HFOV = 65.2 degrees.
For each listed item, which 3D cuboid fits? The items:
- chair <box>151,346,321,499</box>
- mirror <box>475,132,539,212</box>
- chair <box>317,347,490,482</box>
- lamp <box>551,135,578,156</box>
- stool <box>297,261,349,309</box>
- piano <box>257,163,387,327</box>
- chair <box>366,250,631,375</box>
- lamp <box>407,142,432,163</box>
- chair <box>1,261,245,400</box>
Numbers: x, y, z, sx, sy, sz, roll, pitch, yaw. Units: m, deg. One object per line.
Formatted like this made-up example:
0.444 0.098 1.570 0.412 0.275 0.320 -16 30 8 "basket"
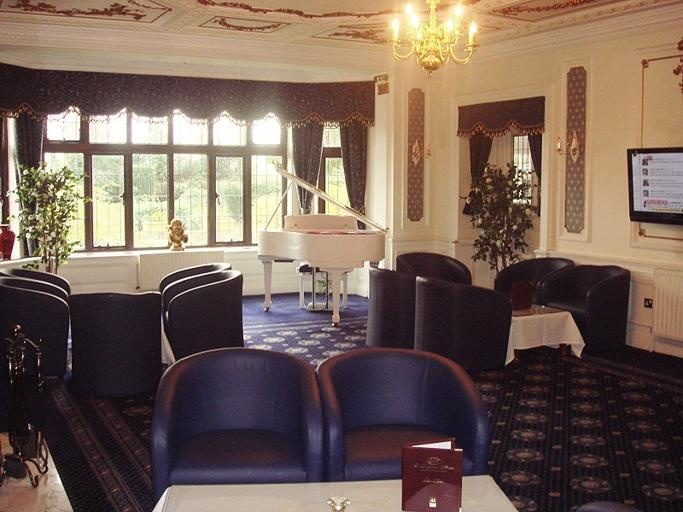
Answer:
-0.590 0.853 3.198 0.793 0.842 0.737 -1 -3 -6 "chair"
2.553 -1.282 8.215 1.242 1.534 0.104 0 -3 1 "mirror"
0.317 0.903 3.259 0.820 0.932 0.790 -1 -4 -11 "chair"
3.049 -1.443 7.239 0.217 0.346 0.323 -2 3 -34 "lamp"
-0.381 0.489 8.890 0.746 0.843 0.752 -1 1 -32 "stool"
-0.326 -0.146 7.689 1.284 2.237 1.968 -4 9 -29 "piano"
1.820 0.654 6.306 2.836 1.040 1.322 -3 9 -20 "chair"
1.259 -1.696 8.836 0.305 0.467 0.334 -3 6 -36 "lamp"
-1.841 0.746 5.104 1.406 0.921 1.264 -2 6 -35 "chair"
